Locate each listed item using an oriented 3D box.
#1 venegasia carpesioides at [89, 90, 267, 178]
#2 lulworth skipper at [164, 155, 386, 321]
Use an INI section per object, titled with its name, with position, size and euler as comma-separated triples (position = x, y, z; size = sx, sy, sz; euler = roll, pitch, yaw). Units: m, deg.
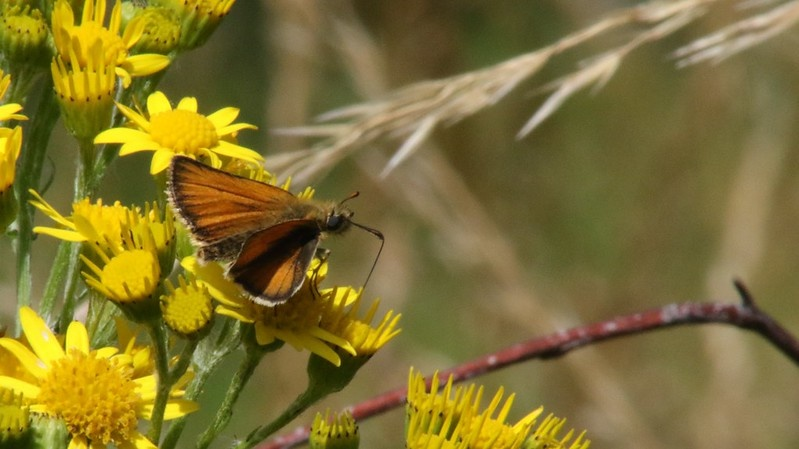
[venegasia carpesioides]
position = -1.213, -0.491, 5.249
size = 0.587, 0.602, 0.198
euler = 19, -67, 7
[lulworth skipper]
position = -0.742, 0.036, 5.182
size = 0.890, 0.904, 0.444
euler = -1, -63, -26
